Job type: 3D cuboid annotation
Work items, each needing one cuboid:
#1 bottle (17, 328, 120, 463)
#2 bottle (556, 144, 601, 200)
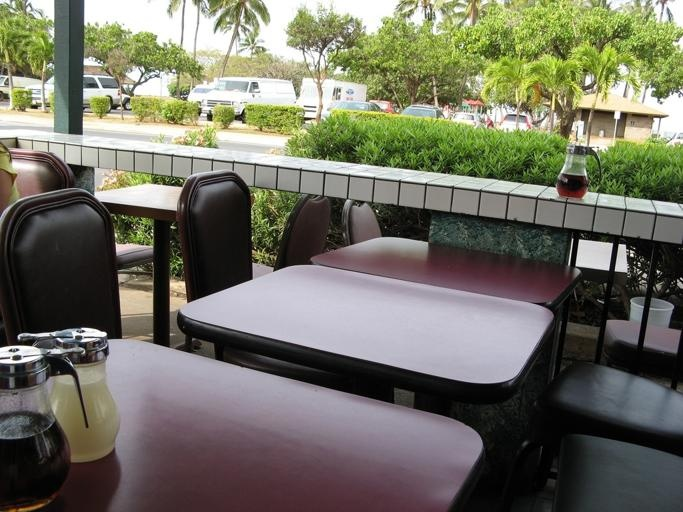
[{"bbox_3d":[-0.387,0.212,0.731,0.109,0.178,0.147,-4,6,-37],"label":"bottle"},{"bbox_3d":[1.083,-0.379,2.233,0.199,0.242,0.147,11,14,27],"label":"bottle"}]
